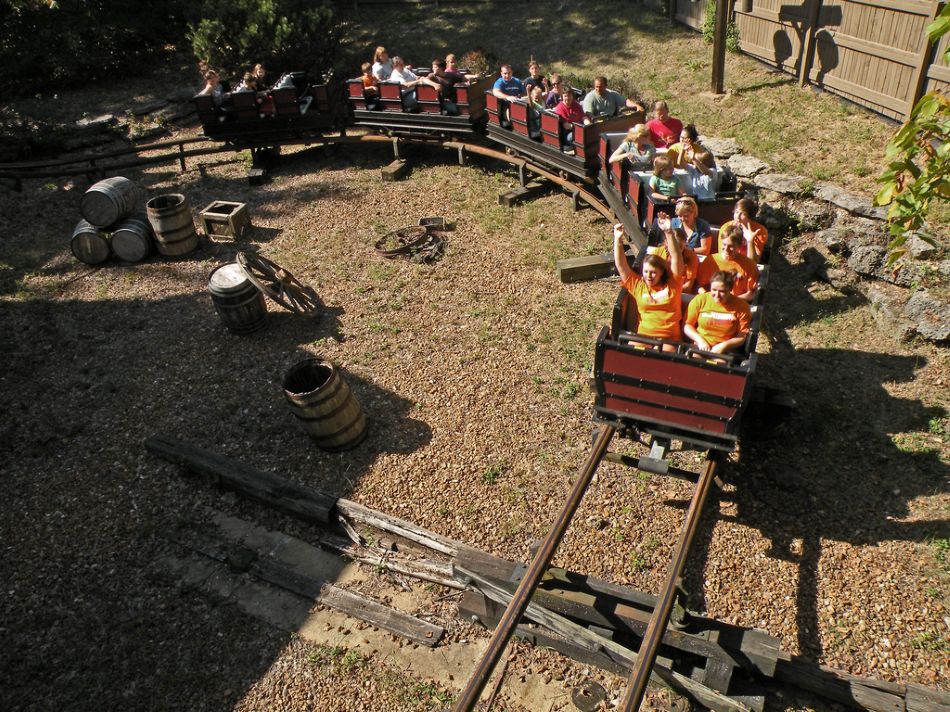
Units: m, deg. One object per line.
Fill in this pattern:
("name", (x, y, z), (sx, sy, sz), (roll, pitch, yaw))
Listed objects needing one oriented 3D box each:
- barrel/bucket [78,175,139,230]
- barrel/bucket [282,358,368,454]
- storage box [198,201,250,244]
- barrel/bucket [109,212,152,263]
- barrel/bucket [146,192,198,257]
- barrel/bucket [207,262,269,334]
("barrel/bucket", (-6.905, -2.885, 12.556), (1.011, 0.831, 0.581), (-25, 41, -23))
("barrel/bucket", (-2.001, 0.702, 8.696), (0.696, 0.963, 0.707), (-14, 44, 14))
("storage box", (-4.857, -2.610, 12.897), (0.856, 0.572, 0.709), (13, 41, 24))
("barrel/bucket", (-6.484, -2.303, 12.720), (0.844, 0.810, 0.866), (-12, 14, 3))
("barrel/bucket", (-5.726, -2.454, 12.525), (0.681, 0.998, 0.757), (23, 47, 34))
("barrel/bucket", (-3.780, -0.898, 10.537), (0.665, 0.984, 0.755), (-33, 44, -29))
